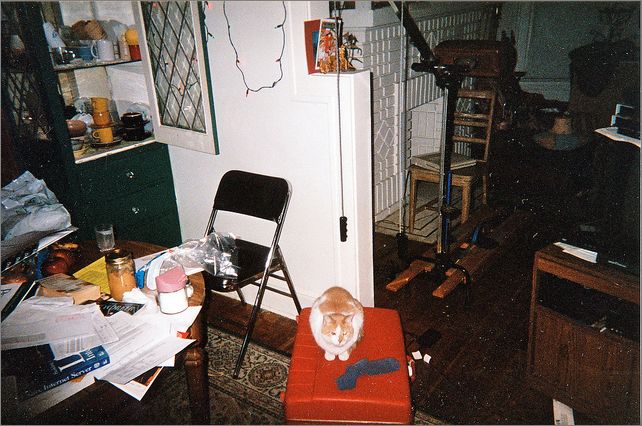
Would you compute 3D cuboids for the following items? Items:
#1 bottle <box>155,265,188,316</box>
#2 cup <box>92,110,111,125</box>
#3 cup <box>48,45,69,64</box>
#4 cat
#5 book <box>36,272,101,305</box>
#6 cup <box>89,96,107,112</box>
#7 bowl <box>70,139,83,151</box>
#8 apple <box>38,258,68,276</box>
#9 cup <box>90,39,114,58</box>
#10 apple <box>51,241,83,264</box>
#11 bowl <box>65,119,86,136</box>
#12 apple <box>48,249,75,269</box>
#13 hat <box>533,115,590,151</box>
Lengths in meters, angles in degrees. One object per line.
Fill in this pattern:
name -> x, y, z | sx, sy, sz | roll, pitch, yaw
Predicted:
bottle -> -0.737, 0.390, 2.325 | 0.158, 0.198, 0.198 | 7, 15, 27
cup -> -1.684, -0.726, 3.492 | 0.118, 0.095, 0.115 | 2, 8, 0
cup -> -1.910, -1.163, 3.341 | 0.115, 0.113, 0.063 | -13, 25, -23
cat -> 0.095, 0.590, 2.481 | 0.254, 0.280, 0.365 | -1, 57, 4
book -> -1.330, 0.402, 2.376 | 0.344, 0.077, 0.173 | 7, 24, 23
cup -> -1.693, -0.831, 3.478 | 0.119, 0.086, 0.116 | 3, 16, -1
bowl -> -1.842, -0.531, 3.460 | 0.097, 0.066, 0.099 | 1, 21, -1
apple -> -1.462, 0.288, 2.522 | 0.102, 0.119, 0.101 | 1, 12, 8
cup -> -1.648, -1.243, 3.450 | 0.110, 0.151, 0.178 | 26, 33, 37
apple -> -1.461, 0.222, 2.603 | 0.147, 0.123, 0.119 | -22, 55, 19
bowl -> -1.877, -0.656, 3.500 | 0.140, 0.095, 0.144 | 2, 17, 0
apple -> -1.457, 0.237, 2.566 | 0.105, 0.123, 0.102 | -14, 18, -25
hat -> 1.836, -0.622, 3.469 | 0.256, 0.106, 0.289 | 6, 28, 32
